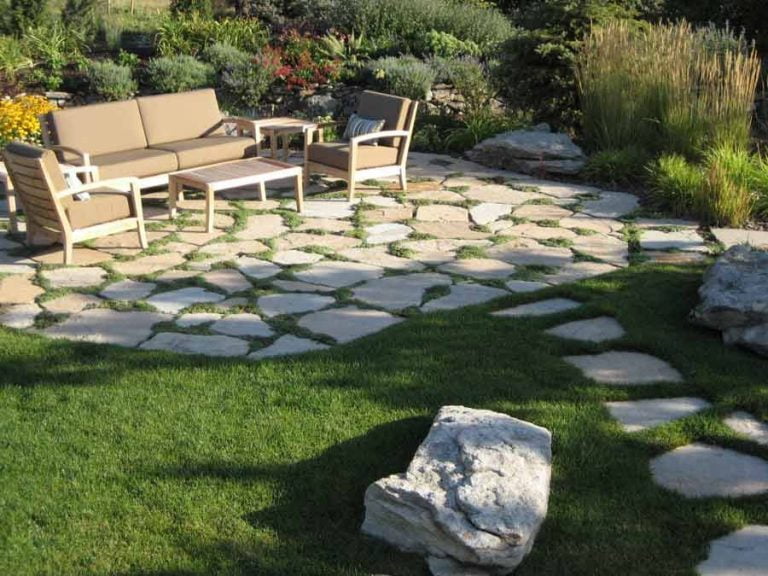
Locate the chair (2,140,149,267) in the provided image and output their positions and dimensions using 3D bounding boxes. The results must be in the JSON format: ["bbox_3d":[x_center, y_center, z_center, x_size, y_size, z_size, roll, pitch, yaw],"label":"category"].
[{"bbox_3d":[-3.340,-1.050,7.489,1.240,1.294,1.626,25,27,39],"label":"chair"}]

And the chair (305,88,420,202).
[{"bbox_3d":[-0.349,-2.023,9.487,1.341,0.982,1.166,-18,34,-22],"label":"chair"}]

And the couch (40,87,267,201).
[{"bbox_3d":[-2.997,-1.934,9.088,2.467,0.916,1.056,-24,47,-39],"label":"couch"}]
